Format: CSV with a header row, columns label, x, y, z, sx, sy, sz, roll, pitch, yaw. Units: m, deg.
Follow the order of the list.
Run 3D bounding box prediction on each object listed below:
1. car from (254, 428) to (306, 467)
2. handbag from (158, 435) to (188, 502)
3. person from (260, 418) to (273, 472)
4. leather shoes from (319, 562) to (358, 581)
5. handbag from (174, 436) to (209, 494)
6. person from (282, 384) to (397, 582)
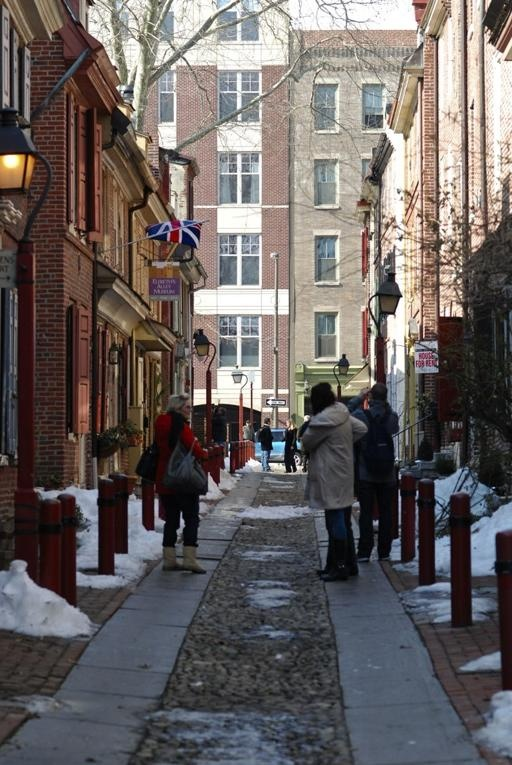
label,x,y,z,sx,sy,sz,roll,pitch,yaw
car,0.815,2.298,39.744,1.905,1.281,1.290,3,-5,-1
handbag,-0.704,0.727,9.487,0.148,0.420,0.354,10,-38,-4
person,0.271,1.850,32.567,0.356,1.401,1.151,-2,-4,0
leather shoes,0.698,1.588,9.304,0.374,0.200,0.134,1,0,11
handbag,-0.548,0.723,9.449,0.211,0.433,0.380,-5,-5,39
person,0.732,0.824,9.525,0.492,1.648,1.382,-3,-4,16
